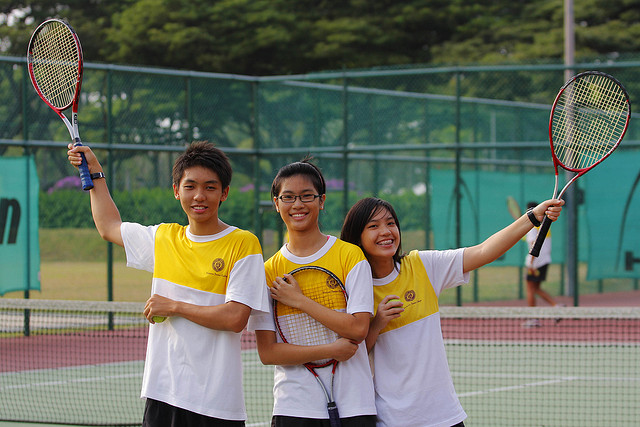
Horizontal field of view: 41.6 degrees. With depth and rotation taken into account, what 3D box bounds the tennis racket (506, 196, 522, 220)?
[{"bbox_3d":[4.030,-0.136,17.190,0.463,0.421,0.301,-5,9,-43],"label":"tennis racket"}]
